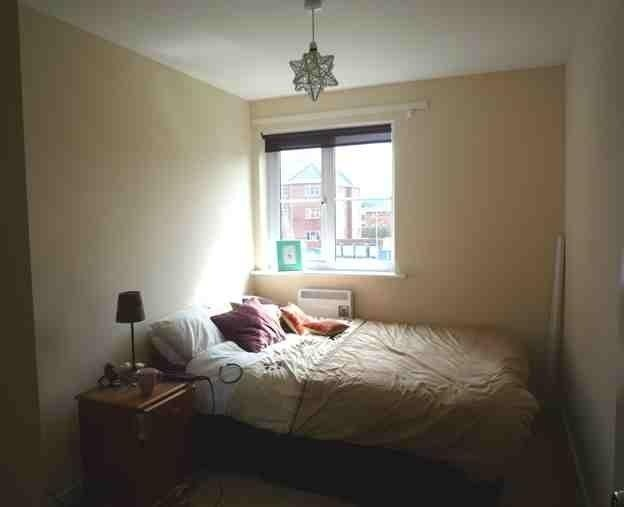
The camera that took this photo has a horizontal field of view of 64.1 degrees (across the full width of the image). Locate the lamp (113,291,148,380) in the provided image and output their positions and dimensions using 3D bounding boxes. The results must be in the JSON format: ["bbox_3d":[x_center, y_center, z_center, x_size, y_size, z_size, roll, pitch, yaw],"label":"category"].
[{"bbox_3d":[-0.616,0.266,1.721,0.078,0.283,0.193,-1,4,-13],"label":"lamp"}]

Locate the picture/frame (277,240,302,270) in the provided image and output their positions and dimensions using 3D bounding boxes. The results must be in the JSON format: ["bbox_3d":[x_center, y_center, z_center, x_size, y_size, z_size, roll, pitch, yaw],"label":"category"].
[{"bbox_3d":[-0.133,0.003,2.912,0.154,0.201,0.021,1,13,4],"label":"picture/frame"}]

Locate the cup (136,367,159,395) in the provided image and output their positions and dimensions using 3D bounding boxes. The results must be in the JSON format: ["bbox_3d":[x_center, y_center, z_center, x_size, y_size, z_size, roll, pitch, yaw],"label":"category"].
[{"bbox_3d":[-0.545,0.429,1.660,0.054,0.073,0.072,0,-9,6],"label":"cup"}]

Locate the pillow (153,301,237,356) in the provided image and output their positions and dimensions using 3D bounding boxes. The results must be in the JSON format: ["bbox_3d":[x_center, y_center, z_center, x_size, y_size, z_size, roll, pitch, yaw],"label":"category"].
[{"bbox_3d":[-0.489,0.312,1.987,0.072,0.146,0.417,-26,-4,7],"label":"pillow"}]

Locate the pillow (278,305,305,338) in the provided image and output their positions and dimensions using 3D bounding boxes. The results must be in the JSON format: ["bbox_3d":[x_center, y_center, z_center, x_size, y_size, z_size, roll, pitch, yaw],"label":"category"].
[{"bbox_3d":[-0.096,0.335,2.484,0.037,0.118,0.121,-40,-49,22],"label":"pillow"}]

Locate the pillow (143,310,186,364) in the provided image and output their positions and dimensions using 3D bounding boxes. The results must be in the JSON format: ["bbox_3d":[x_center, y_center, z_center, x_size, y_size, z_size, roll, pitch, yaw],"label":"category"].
[{"bbox_3d":[-0.543,0.323,1.883,0.044,0.159,0.141,-15,-32,34],"label":"pillow"}]
